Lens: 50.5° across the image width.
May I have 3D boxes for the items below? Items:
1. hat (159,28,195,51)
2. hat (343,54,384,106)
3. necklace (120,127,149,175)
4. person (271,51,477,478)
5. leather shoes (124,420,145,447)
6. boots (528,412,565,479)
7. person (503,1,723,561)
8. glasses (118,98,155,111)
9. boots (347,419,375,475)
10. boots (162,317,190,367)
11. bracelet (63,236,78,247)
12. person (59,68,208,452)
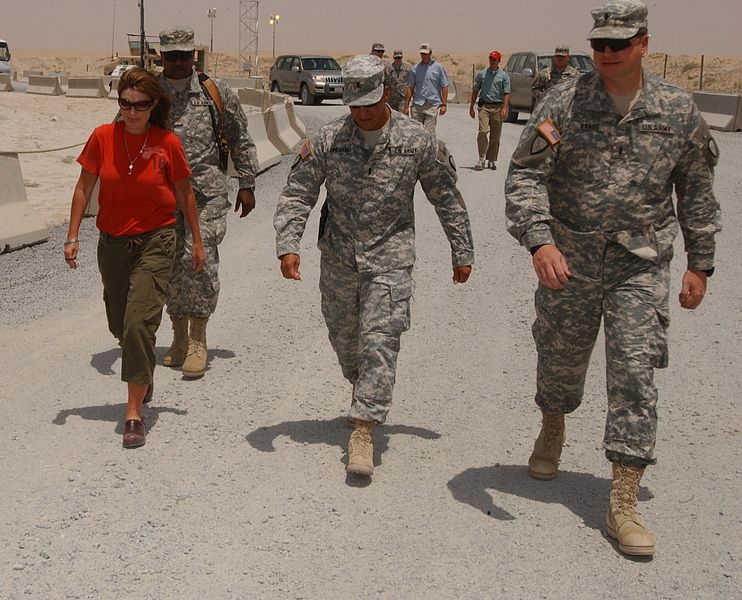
[{"bbox_3d":[-1.326,-1.766,5.383,0.224,0.156,0.150,-5,21,-15],"label":"hat"},{"bbox_3d":[-0.032,-1.130,4.067,0.219,0.255,0.400,0,20,-1],"label":"hat"},{"bbox_3d":[-1.369,-0.854,4.582,0.100,0.011,0.275,6,59,-6],"label":"necklace"},{"bbox_3d":[0.006,-0.202,4.318,1.108,2.159,0.907,1,22,1],"label":"person"},{"bbox_3d":[-1.344,0.744,4.465,0.117,0.133,0.157,-4,21,-11],"label":"leather shoes"},{"bbox_3d":[0.964,0.750,4.268,0.165,0.281,0.435,8,26,20],"label":"boots"},{"bbox_3d":[1.075,-0.153,3.675,0.976,2.347,0.906,8,23,18],"label":"person"},{"bbox_3d":[-1.339,-1.116,4.506,0.188,0.063,0.086,-6,21,-18],"label":"glasses"},{"bbox_3d":[-0.054,0.763,4.212,0.137,0.242,0.366,5,11,0],"label":"boots"},{"bbox_3d":[-1.440,0.310,5.767,0.167,0.319,0.361,3,18,6],"label":"boots"},{"bbox_3d":[-1.804,-0.358,4.732,0.065,0.061,0.062,29,-16,-6],"label":"bracelet"},{"bbox_3d":[-1.442,-0.278,4.599,0.691,1.874,0.998,0,22,0],"label":"person"}]
